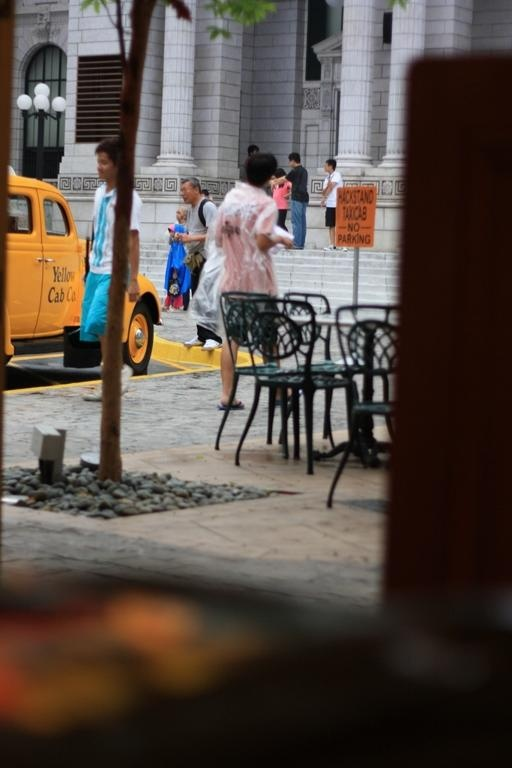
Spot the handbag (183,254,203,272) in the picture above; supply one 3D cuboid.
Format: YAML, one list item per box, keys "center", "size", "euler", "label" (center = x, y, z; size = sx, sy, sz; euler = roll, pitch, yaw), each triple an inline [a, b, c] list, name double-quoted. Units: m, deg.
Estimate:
- center: [-0.927, -1.797, 11.743]
  size: [0.220, 0.097, 0.175]
  euler: [-24, 26, -8]
  label: "handbag"

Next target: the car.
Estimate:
- center: [-1.721, -1.484, 10.781]
  size: [1.938, 2.148, 3.516]
  euler: [6, 9, 39]
  label: "car"

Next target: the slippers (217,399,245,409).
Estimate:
- center: [-0.225, 0.199, 7.446]
  size: [0.221, 0.088, 0.120]
  euler: [-3, 5, -4]
  label: "slippers"

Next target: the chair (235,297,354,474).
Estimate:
- center: [0.239, -0.040, 6.082]
  size: [0.713, 1.276, 0.834]
  euler: [4, 11, 21]
  label: "chair"

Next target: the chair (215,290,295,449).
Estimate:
- center: [0.081, -0.114, 6.080]
  size: [0.785, 1.180, 0.725]
  euler: [1, -20, 14]
  label: "chair"

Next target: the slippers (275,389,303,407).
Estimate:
- center: [0.254, 0.104, 6.452]
  size: [0.106, 0.138, 0.335]
  euler: [4, 6, 36]
  label: "slippers"
